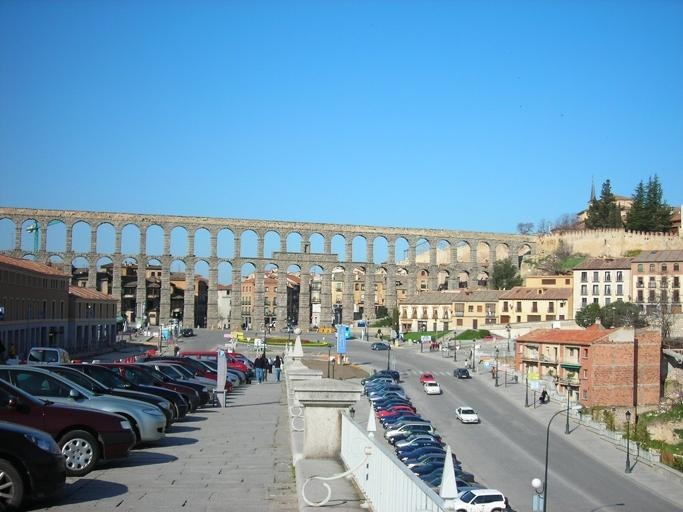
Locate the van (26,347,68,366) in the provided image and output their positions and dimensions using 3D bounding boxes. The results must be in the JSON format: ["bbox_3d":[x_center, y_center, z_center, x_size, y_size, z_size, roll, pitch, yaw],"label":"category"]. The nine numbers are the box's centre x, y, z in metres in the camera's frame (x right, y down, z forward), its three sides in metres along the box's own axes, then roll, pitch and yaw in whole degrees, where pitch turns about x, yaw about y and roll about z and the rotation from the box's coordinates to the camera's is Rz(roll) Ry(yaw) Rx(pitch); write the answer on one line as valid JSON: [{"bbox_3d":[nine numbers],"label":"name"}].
[{"bbox_3d":[-12.745,4.353,40.011,1.198,0.967,2.011,1,2,6],"label":"van"}]

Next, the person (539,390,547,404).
[{"bbox_3d":[14.910,10.287,67.462,0.491,0.993,0.967,3,4,14],"label":"person"}]

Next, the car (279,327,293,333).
[{"bbox_3d":[-7.059,9.746,121.339,1.375,0.630,1.700,-1,-3,2],"label":"car"}]

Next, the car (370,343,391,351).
[{"bbox_3d":[4.335,9.961,98.290,2.165,0.762,1.176,-4,3,-18],"label":"car"}]
